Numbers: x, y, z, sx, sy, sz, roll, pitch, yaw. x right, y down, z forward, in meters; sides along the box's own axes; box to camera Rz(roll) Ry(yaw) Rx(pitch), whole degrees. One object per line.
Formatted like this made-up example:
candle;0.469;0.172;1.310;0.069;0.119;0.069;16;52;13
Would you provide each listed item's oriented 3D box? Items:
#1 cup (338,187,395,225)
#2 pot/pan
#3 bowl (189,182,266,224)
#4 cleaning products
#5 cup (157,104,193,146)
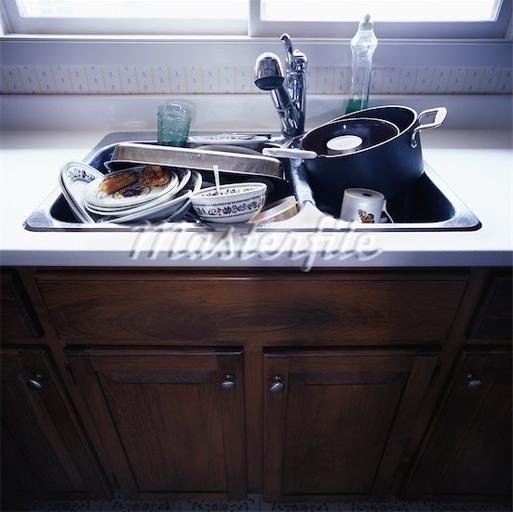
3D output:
cup;0.252;-0.097;0.946;0.078;0.069;0.071;-25;3;1
pot/pan;0.220;-0.237;1.033;0.345;0.199;0.258;9;31;15
bowl;-0.055;-0.105;0.906;0.141;0.081;0.117;-2;30;-4
cleaning products;0.256;-0.483;1.172;0.058;0.230;0.102;-10;34;-16
cup;-0.193;-0.301;1.087;0.111;0.089;0.110;2;13;0
